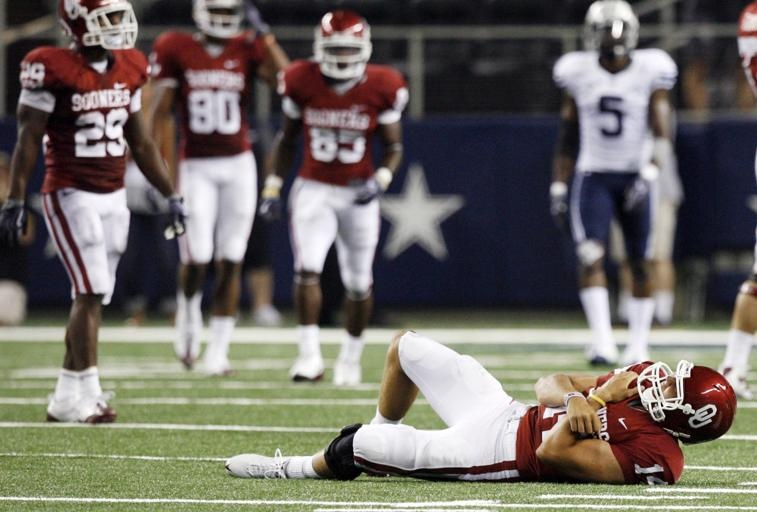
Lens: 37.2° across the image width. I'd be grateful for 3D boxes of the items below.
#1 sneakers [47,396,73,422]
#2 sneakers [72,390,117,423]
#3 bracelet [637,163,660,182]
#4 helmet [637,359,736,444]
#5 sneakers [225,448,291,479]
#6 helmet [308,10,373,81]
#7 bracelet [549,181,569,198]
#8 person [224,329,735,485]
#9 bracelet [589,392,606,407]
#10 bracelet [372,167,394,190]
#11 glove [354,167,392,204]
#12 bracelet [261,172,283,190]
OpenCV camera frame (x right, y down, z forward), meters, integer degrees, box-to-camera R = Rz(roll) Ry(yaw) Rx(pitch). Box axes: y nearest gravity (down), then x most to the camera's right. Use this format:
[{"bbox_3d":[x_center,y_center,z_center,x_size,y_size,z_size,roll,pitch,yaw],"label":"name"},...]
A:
[{"bbox_3d":[-1.850,0.904,6.670,0.153,0.156,0.146,-1,8,0],"label":"sneakers"},{"bbox_3d":[-1.647,0.867,6.644,0.180,0.186,0.088,-10,44,15],"label":"sneakers"},{"bbox_3d":[1.934,-0.605,8.084,0.129,0.123,0.132,2,8,10],"label":"bracelet"},{"bbox_3d":[1.487,0.691,5.509,0.433,0.332,0.335,20,19,4],"label":"helmet"},{"bbox_3d":[-0.587,1.038,5.664,0.353,0.124,0.159,2,5,-1],"label":"sneakers"},{"bbox_3d":[-0.246,-1.522,7.951,0.348,0.392,0.481,1,18,0],"label":"helmet"},{"bbox_3d":[1.316,-0.491,8.226,0.110,0.098,0.113,7,11,43],"label":"bracelet"},{"bbox_3d":[0.684,0.798,5.676,1.842,0.639,0.984,3,-9,12],"label":"person"},{"bbox_3d":[1.044,0.692,5.428,0.089,0.057,0.070,8,11,41],"label":"bracelet"},{"bbox_3d":[0.041,-0.551,7.823,0.145,0.154,0.153,2,-5,7],"label":"bracelet"},{"bbox_3d":[-0.039,-0.510,7.889,0.276,0.211,0.085,-40,43,2],"label":"glove"},{"bbox_3d":[-0.730,-0.531,7.916,0.101,0.103,0.102,8,3,38],"label":"bracelet"}]
